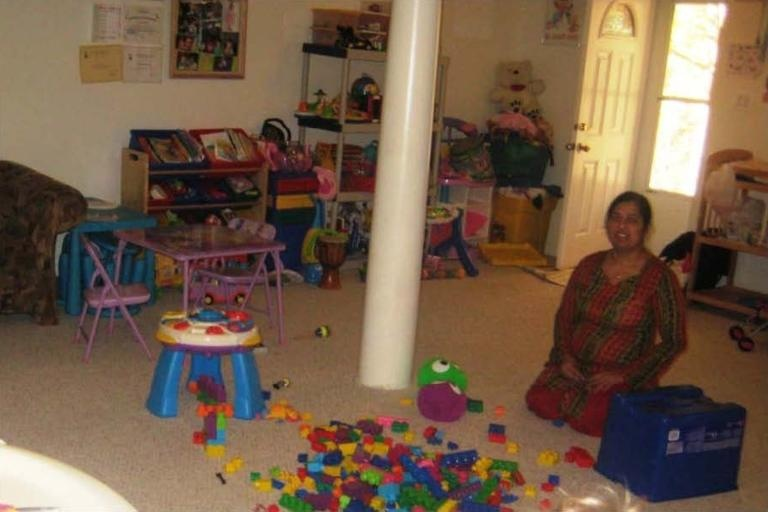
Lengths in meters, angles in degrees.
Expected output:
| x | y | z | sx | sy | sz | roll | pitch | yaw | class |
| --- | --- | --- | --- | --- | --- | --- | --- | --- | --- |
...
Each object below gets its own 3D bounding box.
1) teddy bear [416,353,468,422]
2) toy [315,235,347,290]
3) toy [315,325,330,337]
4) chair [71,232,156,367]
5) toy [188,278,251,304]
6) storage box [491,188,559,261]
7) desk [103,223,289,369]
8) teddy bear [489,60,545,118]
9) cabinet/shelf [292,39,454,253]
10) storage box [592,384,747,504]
| x | y | z | sx | sy | sz | roll | pitch | yaw | class |
| --- | --- | --- | --- | --- | --- | --- | --- | --- | --- |
| 0.420 | 0.982 | 4.549 | 0.379 | 0.448 | 0.256 | 7 | 16 | 9 | teddy bear |
| -0.573 | 0.077 | 6.955 | 0.464 | 0.563 | 0.454 | 3 | 3 | -19 | toy |
| -0.567 | 0.692 | 5.766 | 0.146 | 0.086 | 0.167 | 2 | 11 | -5 | toy |
| -2.289 | 0.334 | 5.273 | 0.550 | 0.885 | 0.521 | -3 | 13 | -35 | chair |
| -1.660 | 0.355 | 6.172 | 0.523 | 0.225 | 0.322 | -1 | 5 | -16 | toy |
| 1.873 | -0.450 | 8.381 | 0.890 | 0.947 | 0.827 | 1 | 14 | -21 | storage box |
| -1.550 | 0.511 | 5.454 | 1.164 | 0.915 | 1.509 | -4 | 13 | -34 | desk |
| 1.789 | -2.238 | 8.329 | 0.884 | 0.895 | 0.486 | -2 | 0 | -8 | teddy bear |
| -0.180 | -1.485 | 7.555 | 1.761 | 2.021 | 1.020 | -5 | 15 | -35 | cabinet/shelf |
| 1.876 | 1.218 | 4.110 | 0.674 | 0.504 | 0.801 | 0 | 0 | -3 | storage box |
